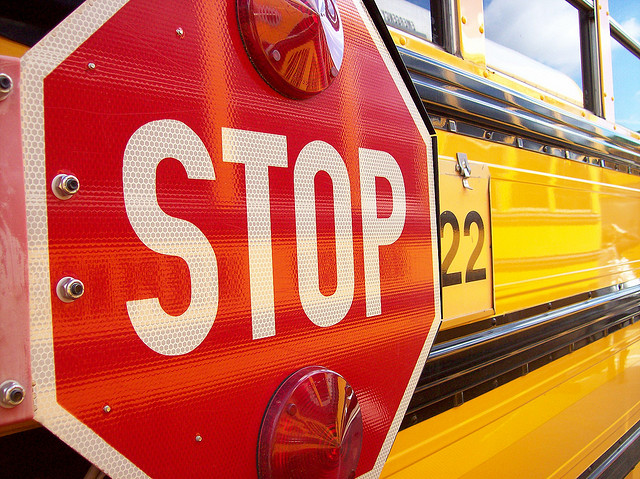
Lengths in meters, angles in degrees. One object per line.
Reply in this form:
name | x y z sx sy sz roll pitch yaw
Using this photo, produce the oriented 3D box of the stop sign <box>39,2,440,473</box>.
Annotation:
stop sign | -0.073 -0.007 0.880 0.751 0.669 0.061 -6 4 -38
